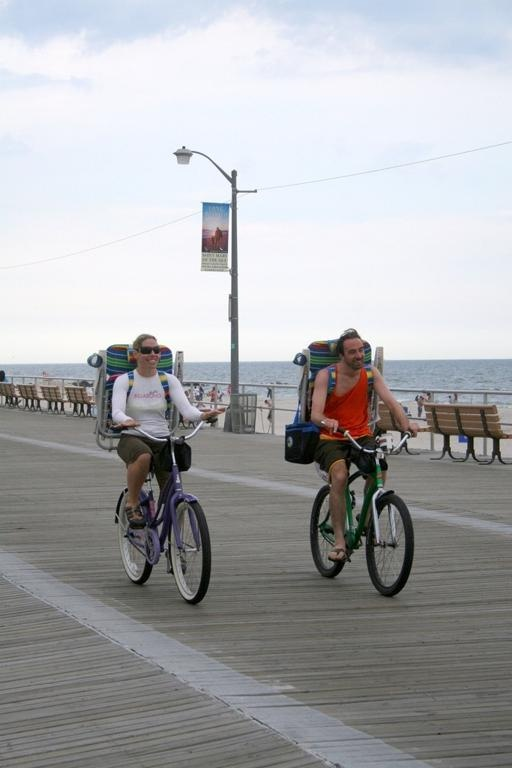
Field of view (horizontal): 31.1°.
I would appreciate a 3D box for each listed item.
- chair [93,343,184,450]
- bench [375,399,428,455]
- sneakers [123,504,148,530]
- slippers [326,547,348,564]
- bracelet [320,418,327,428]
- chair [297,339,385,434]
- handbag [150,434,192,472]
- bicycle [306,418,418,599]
[{"bbox_3d":[-1.995,0.142,15.142,1.516,1.709,1.550,0,5,-12],"label":"chair"},{"bbox_3d":[1.991,0.547,12.534,0.472,0.692,1.072,-6,5,-16],"label":"bench"},{"bbox_3d":[-0.778,0.858,5.915,0.101,0.168,0.064,-3,-25,-8],"label":"sneakers"},{"bbox_3d":[0.534,1.129,6.068,0.171,0.100,0.389,0,-5,0],"label":"slippers"},{"bbox_3d":[0.426,0.247,5.878,0.036,0.048,0.076,0,0,0],"label":"bracelet"},{"bbox_3d":[0.812,-0.007,8.453,0.989,1.036,1.045,1,-1,-6],"label":"chair"},{"bbox_3d":[-0.549,0.429,5.805,0.250,0.222,0.233,0,-1,-33],"label":"handbag"},{"bbox_3d":[0.753,0.819,6.014,0.503,1.031,1.311,0,0,-11],"label":"bicycle"}]
